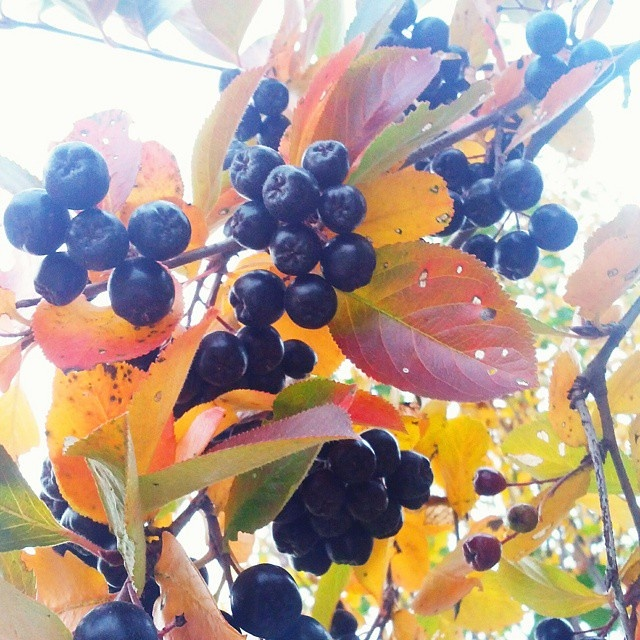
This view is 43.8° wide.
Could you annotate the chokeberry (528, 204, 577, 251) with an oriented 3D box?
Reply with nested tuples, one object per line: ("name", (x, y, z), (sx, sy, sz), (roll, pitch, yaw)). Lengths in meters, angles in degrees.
("chokeberry", (0.401, -0.159, 1.370), (0.069, 0.093, 0.074), (-2, 7, 12))

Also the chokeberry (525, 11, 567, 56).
("chokeberry", (0.399, -0.498, 1.391), (0.065, 0.084, 0.065), (-14, 18, -41))
